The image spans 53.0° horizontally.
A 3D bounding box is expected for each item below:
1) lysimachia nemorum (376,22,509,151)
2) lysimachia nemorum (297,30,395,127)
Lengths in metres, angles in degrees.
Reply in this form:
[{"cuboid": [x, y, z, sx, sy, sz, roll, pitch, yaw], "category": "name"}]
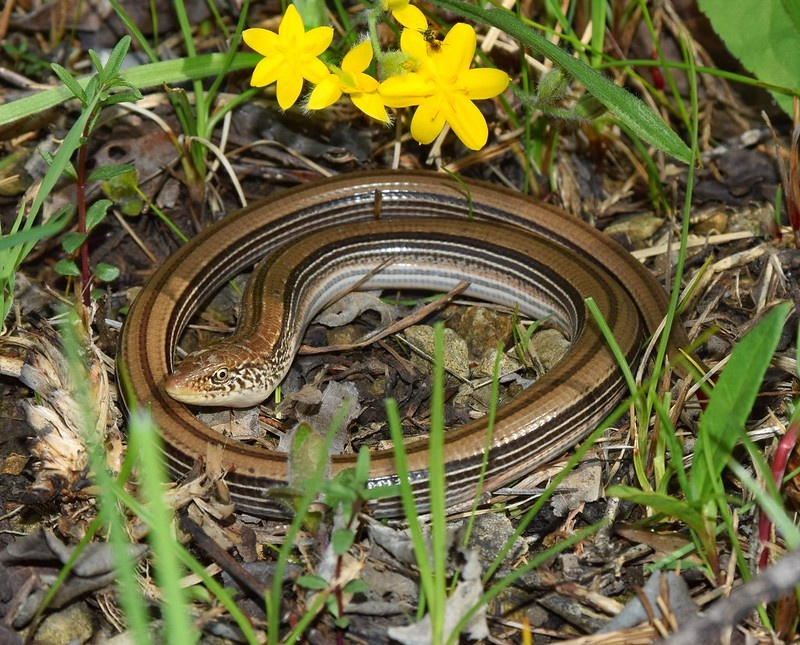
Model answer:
[{"cuboid": [0.191, -1.026, 3.472, 0.511, 0.481, 0.222, 27, -3, 2], "category": "lysimachia nemorum"}, {"cuboid": [-0.220, -1.061, 3.535, 0.258, 0.427, 0.291, -1, 26, -2], "category": "lysimachia nemorum"}]
